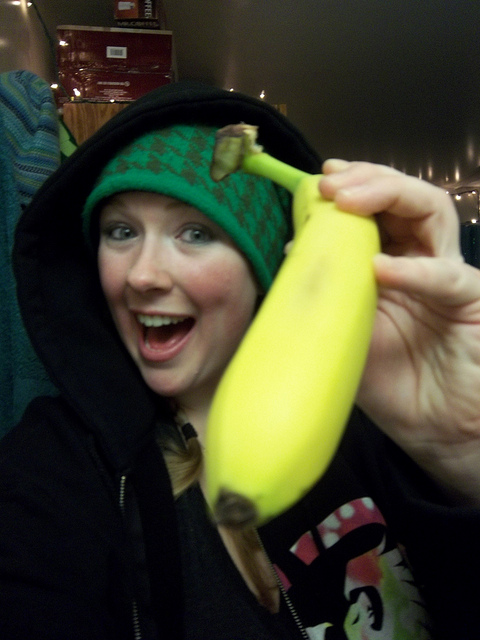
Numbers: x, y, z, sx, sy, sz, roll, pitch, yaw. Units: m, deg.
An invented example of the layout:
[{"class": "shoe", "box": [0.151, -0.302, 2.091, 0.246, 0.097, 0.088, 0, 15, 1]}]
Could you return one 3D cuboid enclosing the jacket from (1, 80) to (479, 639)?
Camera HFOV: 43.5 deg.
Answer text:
[{"class": "jacket", "box": [-0.105, 0.062, 1.161, 0.721, 0.268, 0.957, 3, 63, -8]}]
